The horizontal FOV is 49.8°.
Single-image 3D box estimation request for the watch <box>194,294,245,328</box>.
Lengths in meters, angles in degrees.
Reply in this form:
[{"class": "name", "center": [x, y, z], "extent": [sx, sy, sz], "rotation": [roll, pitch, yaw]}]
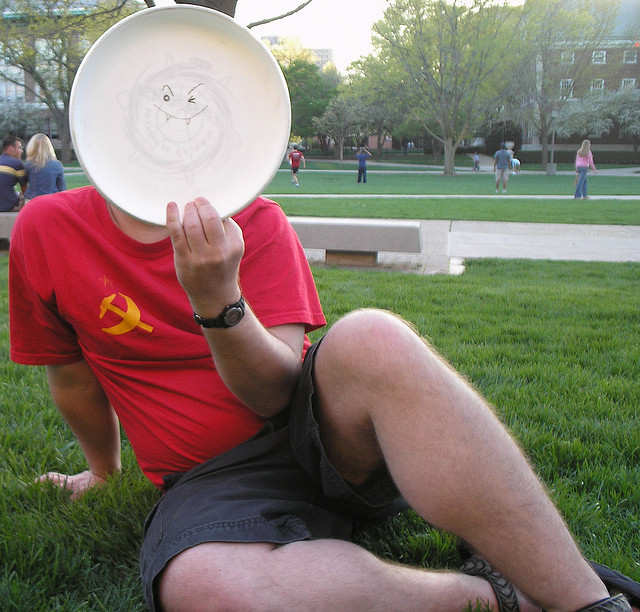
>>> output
[{"class": "watch", "center": [-0.224, 0.037, 1.583], "extent": [0.062, 0.032, 0.078], "rotation": [-16, 36, 21]}]
